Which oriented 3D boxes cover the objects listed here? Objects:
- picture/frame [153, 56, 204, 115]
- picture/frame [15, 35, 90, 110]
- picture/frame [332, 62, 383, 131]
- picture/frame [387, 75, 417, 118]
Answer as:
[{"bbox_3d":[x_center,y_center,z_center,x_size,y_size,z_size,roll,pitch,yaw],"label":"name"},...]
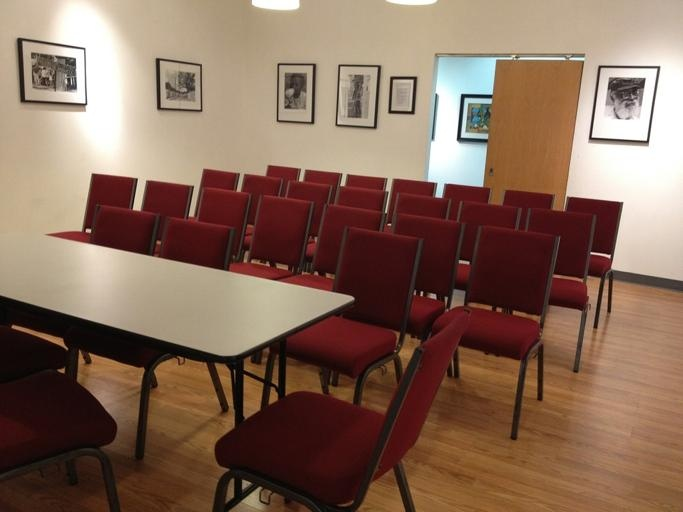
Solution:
[{"bbox_3d":[-2.267,-2.396,7.035,0.026,0.641,0.832,13,19,25],"label":"picture/frame"},{"bbox_3d":[-3.141,-2.012,5.493,0.796,0.634,0.027,7,12,6],"label":"picture/frame"},{"bbox_3d":[0.274,-2.376,7.334,0.820,1.132,0.040,8,11,22],"label":"picture/frame"},{"bbox_3d":[0.881,-2.290,7.110,0.489,0.667,0.043,9,14,31],"label":"picture/frame"}]
